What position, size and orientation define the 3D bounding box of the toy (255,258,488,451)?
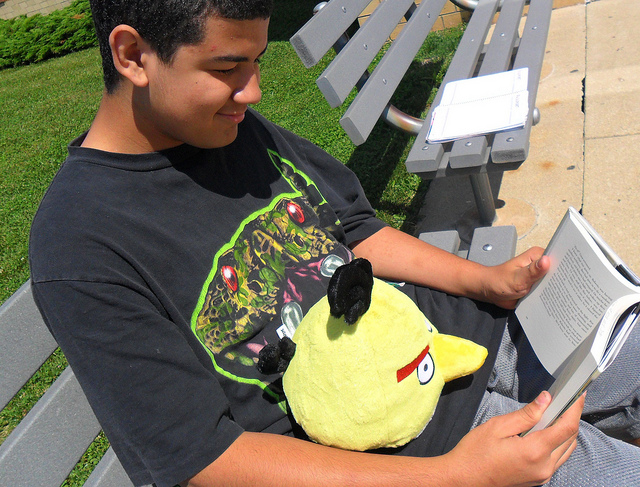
[{"bbox_3d":[0.144,0.301,1.559,0.507,0.512,0.494,-30,42,-29],"label":"toy"}]
